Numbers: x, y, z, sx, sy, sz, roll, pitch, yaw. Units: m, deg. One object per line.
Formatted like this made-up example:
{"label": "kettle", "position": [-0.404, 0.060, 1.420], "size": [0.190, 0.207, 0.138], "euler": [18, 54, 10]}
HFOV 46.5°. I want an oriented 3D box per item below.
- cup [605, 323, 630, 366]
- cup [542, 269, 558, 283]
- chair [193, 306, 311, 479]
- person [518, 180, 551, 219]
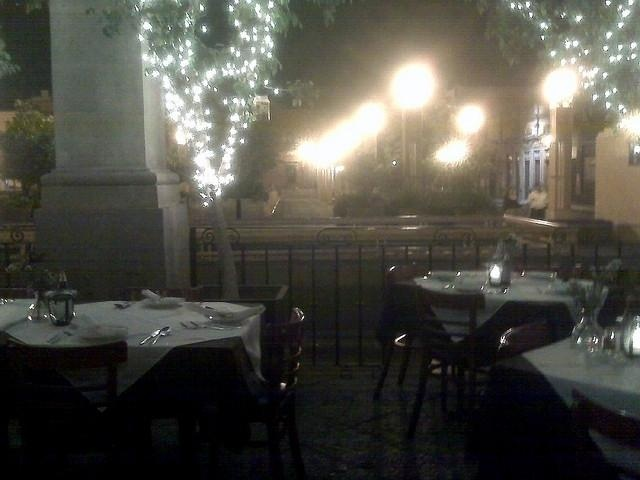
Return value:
{"label": "cup", "position": [1.573, 0.544, 3.913], "size": [0.091, 0.194, 0.139], "euler": [-1, 5, -22]}
{"label": "cup", "position": [1.909, 0.291, 6.087], "size": [0.096, 0.105, 0.074], "euler": [1, 6, 45]}
{"label": "chair", "position": [-0.326, 0.924, 4.840], "size": [0.807, 1.387, 0.814], "euler": [1, -3, 0]}
{"label": "person", "position": [4.229, -0.765, 14.631], "size": [0.391, 0.373, 1.162], "euler": [1, -38, 2]}
